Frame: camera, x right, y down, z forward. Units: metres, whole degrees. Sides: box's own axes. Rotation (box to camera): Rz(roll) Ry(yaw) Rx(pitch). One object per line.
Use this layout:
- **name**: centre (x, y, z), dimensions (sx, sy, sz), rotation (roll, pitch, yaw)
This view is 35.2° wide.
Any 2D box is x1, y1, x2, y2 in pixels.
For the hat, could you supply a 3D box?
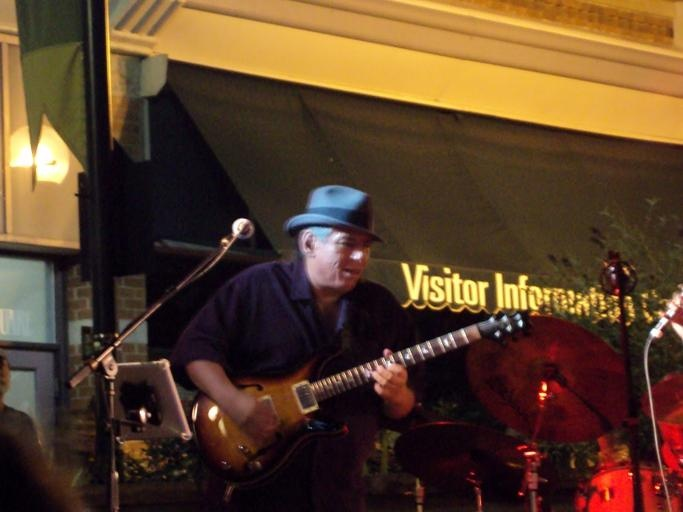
- **hat**: centre (-0.042, -0.318, 8.091), dimensions (0.709, 0.381, 0.817), rotation (13, -13, -40)

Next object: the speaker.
- **speaker**: centre (-1.829, -0.347, 8.718), dimensions (0.586, 1.065, 0.601), rotation (-3, -10, -11)

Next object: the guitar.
- **guitar**: centre (-0.051, 1.062, 7.562), dimensions (2.024, 0.916, 0.181), rotation (-7, -9, 4)

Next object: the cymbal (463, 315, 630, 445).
- **cymbal**: centre (1.585, 0.953, 8.236), dimensions (1.147, 1.247, 0.326), rotation (3, 8, 6)
